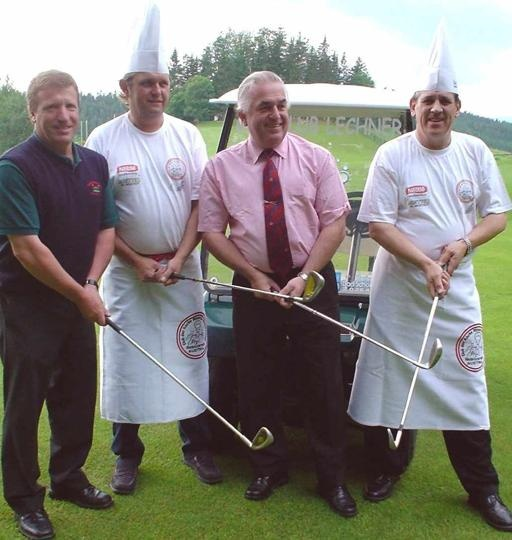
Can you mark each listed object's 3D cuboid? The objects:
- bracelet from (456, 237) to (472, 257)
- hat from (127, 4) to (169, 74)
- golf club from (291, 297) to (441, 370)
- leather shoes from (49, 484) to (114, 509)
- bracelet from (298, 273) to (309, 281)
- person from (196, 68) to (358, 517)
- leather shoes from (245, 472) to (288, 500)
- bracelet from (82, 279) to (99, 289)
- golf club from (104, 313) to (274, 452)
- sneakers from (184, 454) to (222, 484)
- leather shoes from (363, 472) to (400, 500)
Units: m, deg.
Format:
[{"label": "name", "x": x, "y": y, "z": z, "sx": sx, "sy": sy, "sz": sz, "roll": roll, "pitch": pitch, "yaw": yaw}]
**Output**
[{"label": "bracelet", "x": 0.941, "y": -0.103, "z": 2.707, "sx": 0.080, "sy": 0.073, "sz": 0.032, "roll": 24, "pitch": -9, "yaw": -33}, {"label": "hat", "x": -0.514, "y": -1.072, "z": 2.838, "sx": 0.209, "sy": 0.339, "sz": 0.240, "roll": -2, "pitch": 15, "yaw": -8}, {"label": "golf club", "x": 0.335, "y": 0.257, "z": 2.555, "sx": 0.828, "sy": 0.138, "sz": 0.254, "roll": 19, "pitch": 3, "yaw": 13}, {"label": "leather shoes", "x": -0.836, "y": 1.042, "z": 2.859, "sx": 0.308, "sy": 0.098, "sz": 0.099, "roll": 5, "pitch": 2, "yaw": 3}, {"label": "bracelet", "x": 0.212, "y": 0.028, "z": 2.670, "sx": 0.044, "sy": 0.023, "sz": 0.041, "roll": 2, "pitch": -6, "yaw": 14}, {"label": "person", "x": 0.046, "y": 0.123, "z": 3.112, "sx": 0.884, "sy": 1.886, "sz": 0.747, "roll": 1, "pitch": 4, "yaw": 2}, {"label": "leather shoes", "x": 0.062, "y": 1.039, "z": 2.939, "sx": 0.077, "sy": 0.077, "sz": 0.227, "roll": -4, "pitch": -10, "yaw": 36}, {"label": "bracelet", "x": -0.699, "y": 0.054, "z": 2.600, "sx": 0.046, "sy": 0.016, "sz": 0.046, "roll": 26, "pitch": -1, "yaw": 38}, {"label": "golf club", "x": -0.322, "y": 0.516, "z": 2.988, "sx": 1.147, "sy": 0.128, "sz": 0.165, "roll": 34, "pitch": 44, "yaw": 6}, {"label": "sneakers", "x": -0.272, "y": 1.012, "z": 3.133, "sx": 0.088, "sy": 0.062, "sz": 0.222, "roll": 1, "pitch": 2, "yaw": -40}, {"label": "leather shoes", "x": 0.606, "y": 1.046, "z": 2.950, "sx": 0.075, "sy": 0.064, "sz": 0.195, "roll": -3, "pitch": -4, "yaw": 45}]
